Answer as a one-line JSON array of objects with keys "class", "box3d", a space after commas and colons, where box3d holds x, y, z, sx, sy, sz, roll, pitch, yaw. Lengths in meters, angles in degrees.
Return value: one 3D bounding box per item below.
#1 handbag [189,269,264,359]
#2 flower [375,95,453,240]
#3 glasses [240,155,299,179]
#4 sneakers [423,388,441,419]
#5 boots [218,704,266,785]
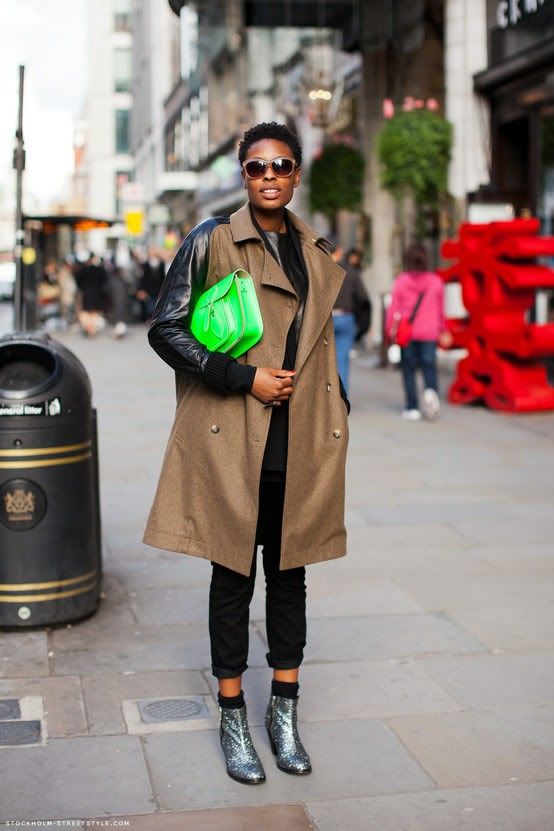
[{"class": "handbag", "box3d": [-0.130, -0.261, 2.581, 0.117, 0.217, 0.234, 0, -8, -37]}, {"class": "flower", "box3d": [0.384, -0.680, 2.650, 0.159, 0.323, 0.205, 9, 10, 11]}, {"class": "glasses", "box3d": [-0.023, -0.664, 2.635, 0.137, 0.057, 0.060, 0, 7, 0]}, {"class": "sneakers", "box3d": [1.509, -0.095, 9.475, 0.122, 0.339, 0.149, -1, 5, 1]}, {"class": "boots", "box3d": [-0.109, 0.915, 2.703, 0.078, 0.104, 0.238, -2, 8, -15]}]
